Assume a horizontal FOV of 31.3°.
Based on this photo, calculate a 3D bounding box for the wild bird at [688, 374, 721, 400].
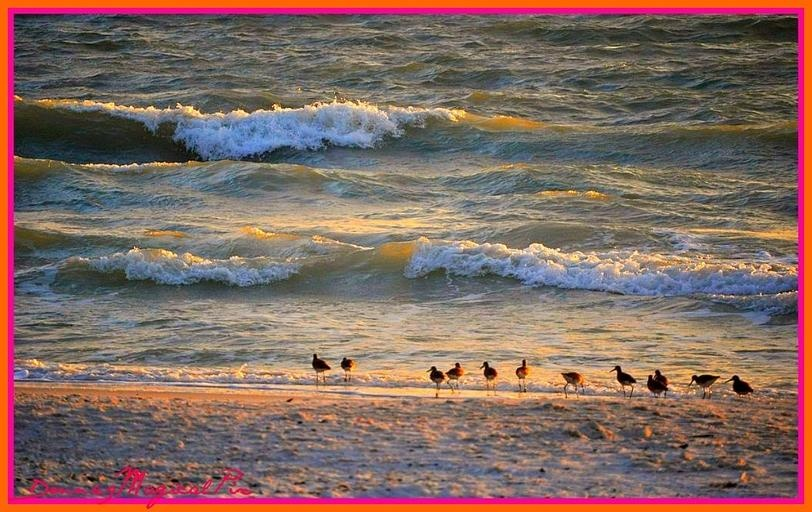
[{"bbox_3d":[9.215,3.922,44.539,0.922,0.672,0.800,0,8,7],"label":"wild bird"}]

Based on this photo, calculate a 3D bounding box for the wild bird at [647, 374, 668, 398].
[{"bbox_3d":[7.797,3.948,44.454,0.624,0.626,0.396,1,10,9],"label":"wild bird"}]

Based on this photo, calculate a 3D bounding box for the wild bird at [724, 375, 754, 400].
[{"bbox_3d":[10.353,3.917,44.517,0.753,0.629,0.705,0,8,7],"label":"wild bird"}]

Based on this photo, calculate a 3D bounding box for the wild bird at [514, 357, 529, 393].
[{"bbox_3d":[3.658,3.670,44.843,0.420,0.870,0.610,0,9,3],"label":"wild bird"}]
